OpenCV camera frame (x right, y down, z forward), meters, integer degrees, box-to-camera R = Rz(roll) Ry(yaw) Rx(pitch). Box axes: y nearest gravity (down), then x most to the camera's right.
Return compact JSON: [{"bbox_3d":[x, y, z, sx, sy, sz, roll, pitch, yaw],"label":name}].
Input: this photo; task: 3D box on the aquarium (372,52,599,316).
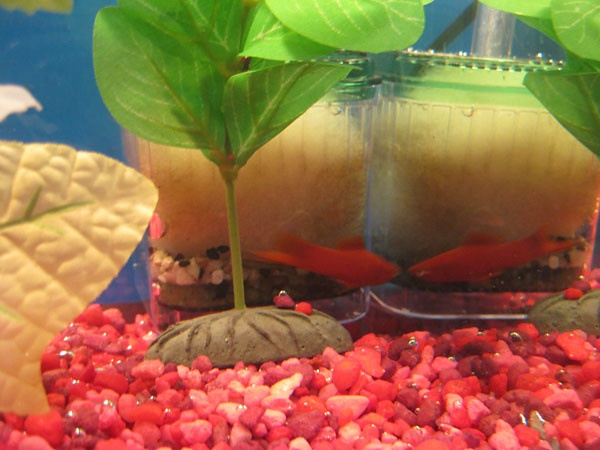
[{"bbox_3d":[0.241,-0.072,1.073,0.363,0.453,0.380,0,6,0],"label":"aquarium"}]
